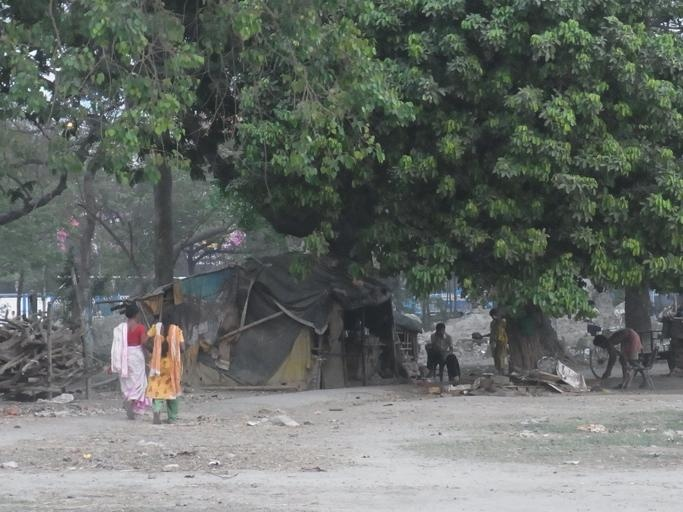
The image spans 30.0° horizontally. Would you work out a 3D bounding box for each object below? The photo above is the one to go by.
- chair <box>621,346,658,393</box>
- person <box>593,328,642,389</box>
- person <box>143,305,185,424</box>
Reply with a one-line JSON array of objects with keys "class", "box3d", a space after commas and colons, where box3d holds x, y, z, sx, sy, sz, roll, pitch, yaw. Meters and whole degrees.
[{"class": "chair", "box3d": [7.451, 2.864, 31.743, 0.891, 1.275, 0.926, -11, -18, 42]}, {"class": "person", "box3d": [7.143, 2.465, 32.636, 0.431, 1.141, 1.834, 5, 6, -31]}, {"class": "person", "box3d": [-3.646, 2.196, 26.391, 0.705, 2.471, 0.723, 7, 28, -1]}]
